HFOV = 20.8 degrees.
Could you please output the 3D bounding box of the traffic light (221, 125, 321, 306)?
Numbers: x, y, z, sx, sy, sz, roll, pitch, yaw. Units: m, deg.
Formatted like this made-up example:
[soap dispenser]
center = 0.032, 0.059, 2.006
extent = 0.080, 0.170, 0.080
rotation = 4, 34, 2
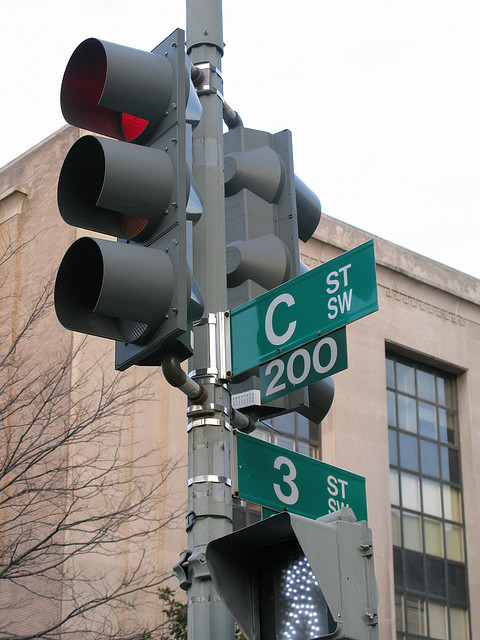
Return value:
[traffic light]
center = 0.156, -0.774, 7.978
extent = 0.490, 1.434, 0.471
rotation = 1, -31, 0
